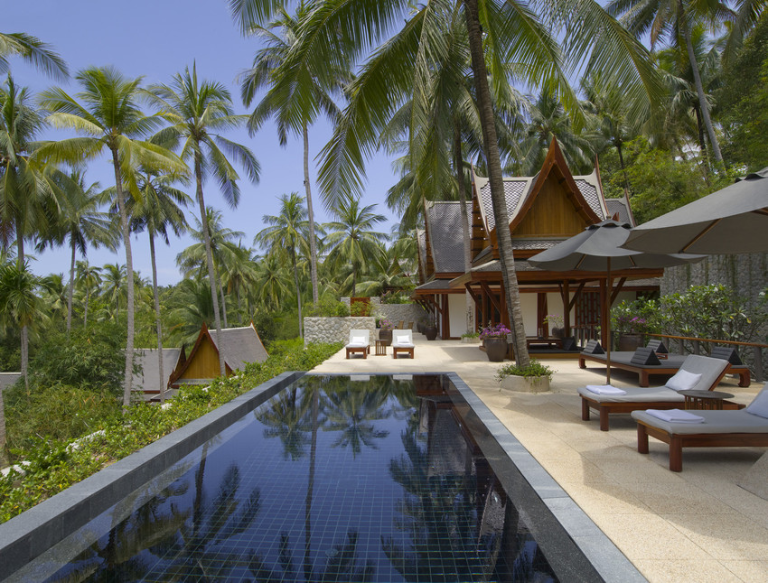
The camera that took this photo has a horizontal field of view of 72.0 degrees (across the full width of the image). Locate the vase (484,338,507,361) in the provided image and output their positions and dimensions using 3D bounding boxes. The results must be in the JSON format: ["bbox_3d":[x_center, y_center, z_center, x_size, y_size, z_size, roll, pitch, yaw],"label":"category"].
[{"bbox_3d":[3.720,1.950,17.596,0.610,0.714,0.663,1,-8,-1],"label":"vase"}]

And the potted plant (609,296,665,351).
[{"bbox_3d":[8.555,1.151,17.928,1.451,1.942,1.277,3,-4,-10],"label":"potted plant"}]
